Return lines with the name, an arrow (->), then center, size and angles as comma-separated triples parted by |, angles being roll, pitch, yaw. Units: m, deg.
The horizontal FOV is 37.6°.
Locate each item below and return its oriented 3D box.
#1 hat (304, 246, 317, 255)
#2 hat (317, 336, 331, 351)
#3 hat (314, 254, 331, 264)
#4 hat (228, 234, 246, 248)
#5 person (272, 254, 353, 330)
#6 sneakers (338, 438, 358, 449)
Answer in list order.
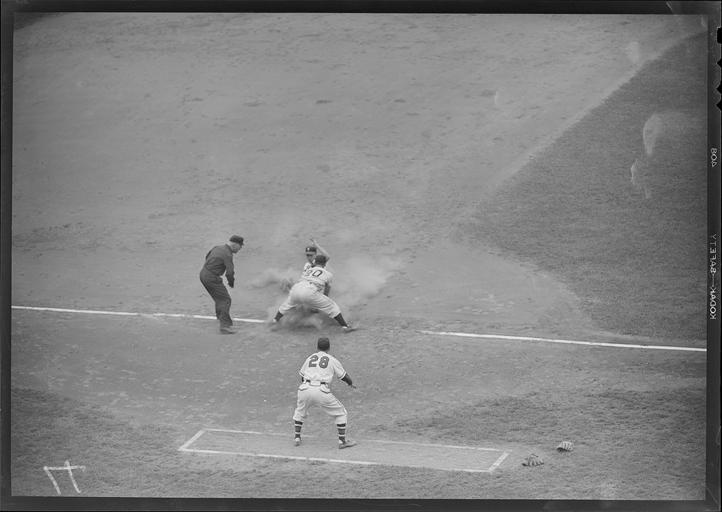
hat -> -0.954, -0.109, 19.441 | 0.177, 0.192, 0.165 | 6, 88, 19
hat -> -0.595, 1.376, 16.889 | 0.229, 0.221, 0.228 | 4, 39, -2
hat -> -0.719, 0.060, 19.194 | 0.212, 0.196, 0.126 | -10, 80, -35
hat -> -2.255, -0.280, 19.223 | 0.216, 0.419, 0.250 | 28, 73, 6
person -> -0.884, 0.669, 19.277 | 1.747, 0.889, 1.081 | 6, 104, 29
sneakers -> -0.246, 3.011, 17.189 | 0.368, 0.135, 0.115 | -8, 32, -17
